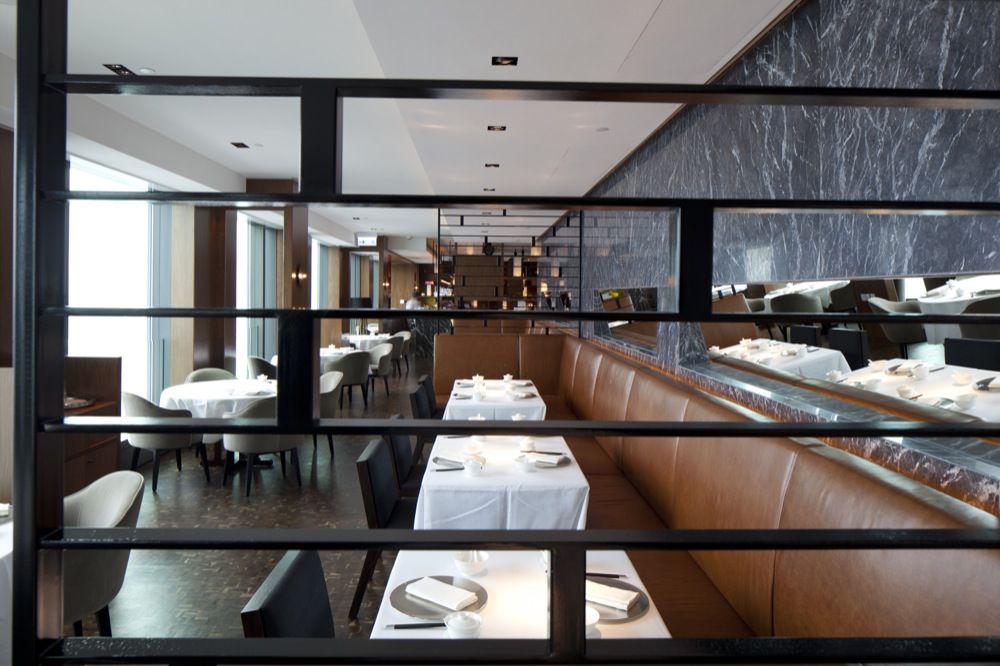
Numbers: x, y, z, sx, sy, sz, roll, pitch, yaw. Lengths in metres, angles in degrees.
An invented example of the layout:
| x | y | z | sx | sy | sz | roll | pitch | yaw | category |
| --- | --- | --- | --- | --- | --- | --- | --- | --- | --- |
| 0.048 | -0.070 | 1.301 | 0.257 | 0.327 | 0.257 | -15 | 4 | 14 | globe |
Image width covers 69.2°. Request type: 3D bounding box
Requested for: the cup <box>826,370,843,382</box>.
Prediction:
| x | y | z | sx | sy | sz | roll | pitch | yaw | category |
| --- | --- | --- | --- | --- | --- | --- | --- | --- | --- |
| 1.435 | 0.186 | 3.109 | 0.045 | 0.030 | 0.044 | 0 | -6 | 0 | cup |

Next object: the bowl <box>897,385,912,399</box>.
| x | y | z | sx | sy | sz | roll | pitch | yaw | category |
| --- | --- | --- | --- | --- | --- | --- | --- | --- | --- |
| 1.560 | 0.233 | 2.804 | 0.044 | 0.029 | 0.042 | -3 | 5 | 0 | bowl |

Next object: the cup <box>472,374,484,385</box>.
| x | y | z | sx | sy | sz | roll | pitch | yaw | category |
| --- | --- | --- | --- | --- | --- | --- | --- | --- | --- |
| -0.168 | 0.362 | 5.548 | 0.076 | 0.078 | 0.074 | -1 | 0 | 0 | cup |

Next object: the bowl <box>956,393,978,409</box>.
| x | y | z | sx | sy | sz | roll | pitch | yaw | category |
| --- | --- | --- | --- | --- | --- | --- | --- | --- | --- |
| 1.667 | 0.245 | 2.598 | 0.042 | 0.039 | 0.050 | -3 | -9 | 12 | bowl |

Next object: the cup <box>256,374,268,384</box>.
| x | y | z | sx | sy | sz | roll | pitch | yaw | category |
| --- | --- | --- | --- | --- | --- | --- | --- | --- | --- |
| -1.975 | 0.396 | 6.047 | 0.105 | 0.060 | 0.120 | 0 | -4 | -7 | cup |

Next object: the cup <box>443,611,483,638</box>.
| x | y | z | sx | sy | sz | roll | pitch | yaw | category |
| --- | --- | --- | --- | --- | --- | --- | --- | --- | --- |
| -0.123 | 0.984 | 2.456 | 0.130 | 0.067 | 0.094 | 1 | -8 | -3 | cup |

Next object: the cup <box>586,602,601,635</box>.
| x | y | z | sx | sy | sz | roll | pitch | yaw | category |
| --- | --- | --- | --- | --- | --- | --- | --- | --- | --- |
| 0.324 | 0.991 | 2.507 | 0.043 | 0.074 | 0.128 | -1 | -8 | 9 | cup |

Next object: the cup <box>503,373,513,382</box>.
| x | y | z | sx | sy | sz | roll | pitch | yaw | category |
| --- | --- | --- | --- | --- | --- | --- | --- | --- | --- |
| 0.067 | 0.360 | 5.749 | 0.072 | 0.047 | 0.066 | 1 | -3 | 0 | cup |

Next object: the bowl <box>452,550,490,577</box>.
| x | y | z | sx | sy | sz | roll | pitch | yaw | category |
| --- | --- | --- | --- | --- | --- | --- | --- | --- | --- |
| -0.106 | 0.867 | 2.744 | 0.135 | 0.092 | 0.091 | 2 | -8 | -10 | bowl |
